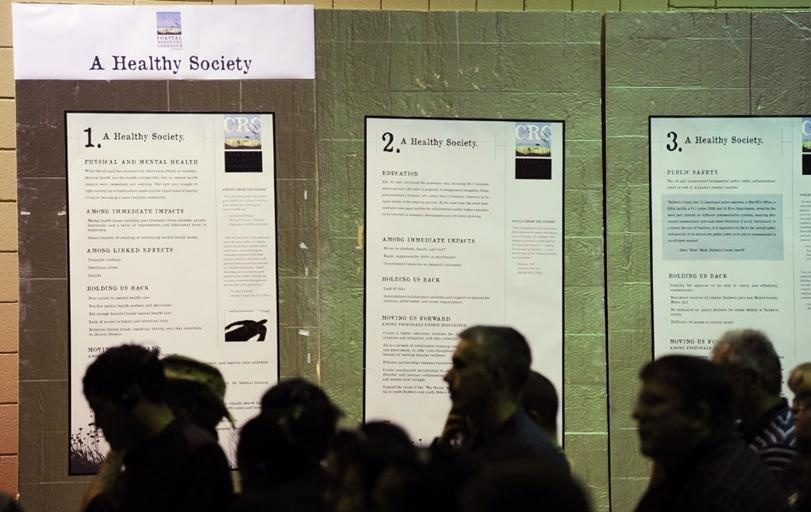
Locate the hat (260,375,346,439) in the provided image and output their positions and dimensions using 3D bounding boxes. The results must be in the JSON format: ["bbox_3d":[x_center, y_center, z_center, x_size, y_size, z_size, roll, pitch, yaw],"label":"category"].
[{"bbox_3d":[-0.619,0.846,8.304,0.360,0.279,0.402,22,-18,-25],"label":"hat"}]
